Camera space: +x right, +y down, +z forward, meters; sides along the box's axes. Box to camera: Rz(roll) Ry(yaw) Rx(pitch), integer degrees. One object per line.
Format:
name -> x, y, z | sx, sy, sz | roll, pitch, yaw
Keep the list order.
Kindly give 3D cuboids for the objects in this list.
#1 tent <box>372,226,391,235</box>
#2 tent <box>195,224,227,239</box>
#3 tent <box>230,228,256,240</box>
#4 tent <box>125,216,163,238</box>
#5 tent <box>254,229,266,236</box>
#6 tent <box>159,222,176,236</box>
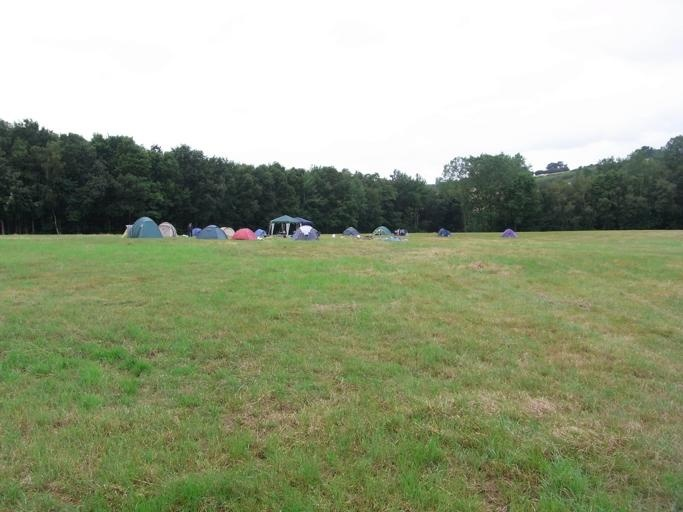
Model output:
tent -> 4.229, -2.531, 59.628 | 1.373, 0.724, 1.534 | -1, 3, -3
tent -> -9.685, -1.687, 44.333 | 1.469, 0.778, 1.361 | 3, 4, 44
tent -> -7.515, -1.616, 44.960 | 1.265, 0.809, 1.271 | 1, 2, -42
tent -> -13.875, -2.005, 40.781 | 1.326, 1.361, 2.005 | 0, 2, -30
tent -> -7.457, -2.155, 54.152 | 0.817, 0.767, 0.916 | 14, -1, -22
tent -> -14.078, -2.082, 47.401 | 1.406, 1.142, 1.513 | -3, 10, -16
